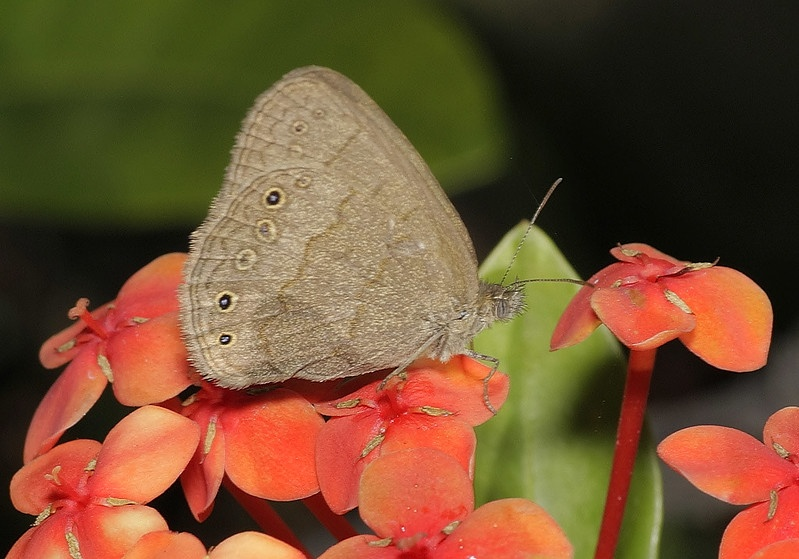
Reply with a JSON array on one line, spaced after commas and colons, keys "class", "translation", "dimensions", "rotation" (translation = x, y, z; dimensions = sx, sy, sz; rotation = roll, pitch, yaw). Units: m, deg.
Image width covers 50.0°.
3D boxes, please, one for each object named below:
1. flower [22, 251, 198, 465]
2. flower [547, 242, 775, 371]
[{"class": "flower", "translation": [-0.674, 0.235, 2.168], "dimensions": [0.526, 0.189, 0.506], "rotation": [-24, 42, 24]}, {"class": "flower", "translation": [0.607, 0.084, 1.966], "dimensions": [0.461, 0.155, 0.319], "rotation": [14, 39, 21]}]
